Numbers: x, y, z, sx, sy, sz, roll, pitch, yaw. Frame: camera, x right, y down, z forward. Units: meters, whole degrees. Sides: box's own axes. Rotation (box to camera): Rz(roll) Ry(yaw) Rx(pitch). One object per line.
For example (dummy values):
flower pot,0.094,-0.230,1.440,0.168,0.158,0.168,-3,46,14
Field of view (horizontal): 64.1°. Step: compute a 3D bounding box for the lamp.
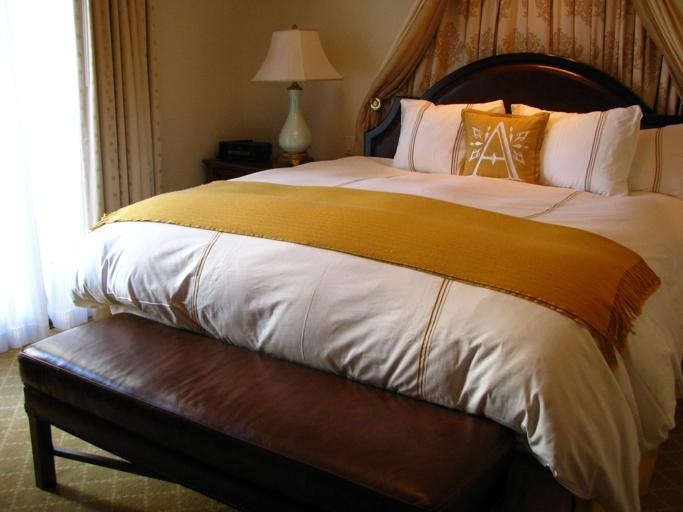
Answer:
lamp,-0.305,-1.076,3.682,0.506,0.895,0.499,11,22,25
